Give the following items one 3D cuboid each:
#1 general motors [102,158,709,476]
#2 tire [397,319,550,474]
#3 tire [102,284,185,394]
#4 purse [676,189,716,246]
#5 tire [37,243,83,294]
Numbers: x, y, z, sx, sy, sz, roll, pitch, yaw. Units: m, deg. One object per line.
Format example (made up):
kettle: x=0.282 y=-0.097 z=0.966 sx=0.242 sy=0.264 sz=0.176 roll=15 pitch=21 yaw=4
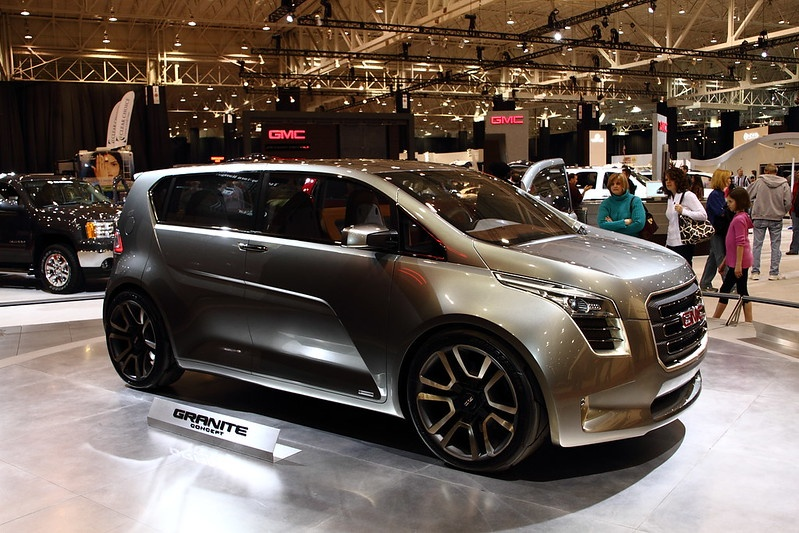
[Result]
general motors: x=-0.037 y=0.184 z=3.999 sx=3.955 sy=1.816 sz=2.250 roll=3 pitch=4 yaw=30
tire: x=0.470 y=0.775 z=3.017 sx=0.855 sy=0.951 sz=0.374 roll=-2 pitch=5 yaw=22
tire: x=-2.332 y=0.655 z=4.515 sx=0.843 sy=0.930 sz=0.349 roll=5 pitch=8 yaw=31
purse: x=4.165 y=-0.675 z=7.077 sx=0.497 sy=0.783 sz=0.287 roll=-5 pitch=-9 yaw=-23
tire: x=-6.544 y=0.038 z=9.462 sx=1.006 sy=0.948 sz=0.261 roll=3 pitch=9 yaw=23
